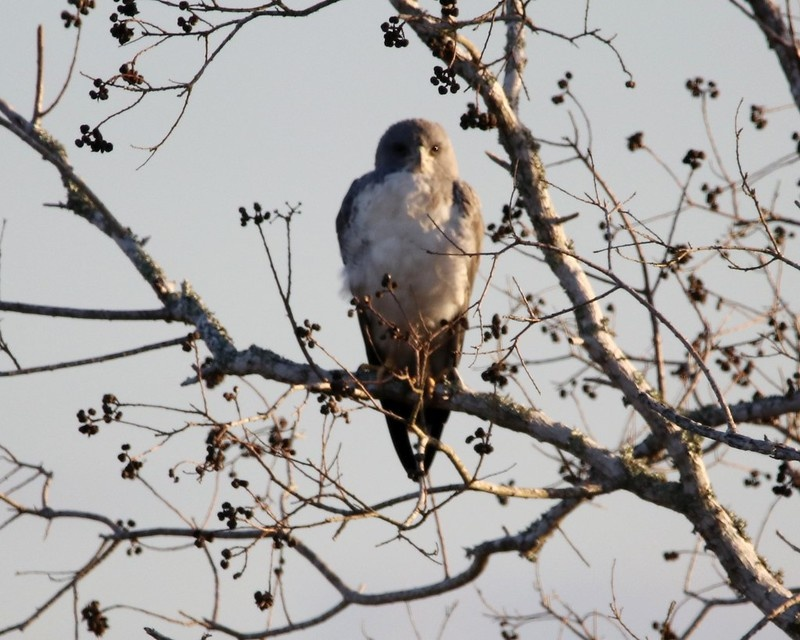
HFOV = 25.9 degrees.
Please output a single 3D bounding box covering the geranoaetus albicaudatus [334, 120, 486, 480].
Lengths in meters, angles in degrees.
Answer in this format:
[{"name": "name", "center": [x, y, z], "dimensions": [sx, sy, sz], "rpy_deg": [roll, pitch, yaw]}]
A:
[{"name": "geranoaetus albicaudatus", "center": [0.087, -0.301, 11.089], "dimensions": [0.772, 1.316, 2.550], "rpy_deg": [0, -88, 0]}]
